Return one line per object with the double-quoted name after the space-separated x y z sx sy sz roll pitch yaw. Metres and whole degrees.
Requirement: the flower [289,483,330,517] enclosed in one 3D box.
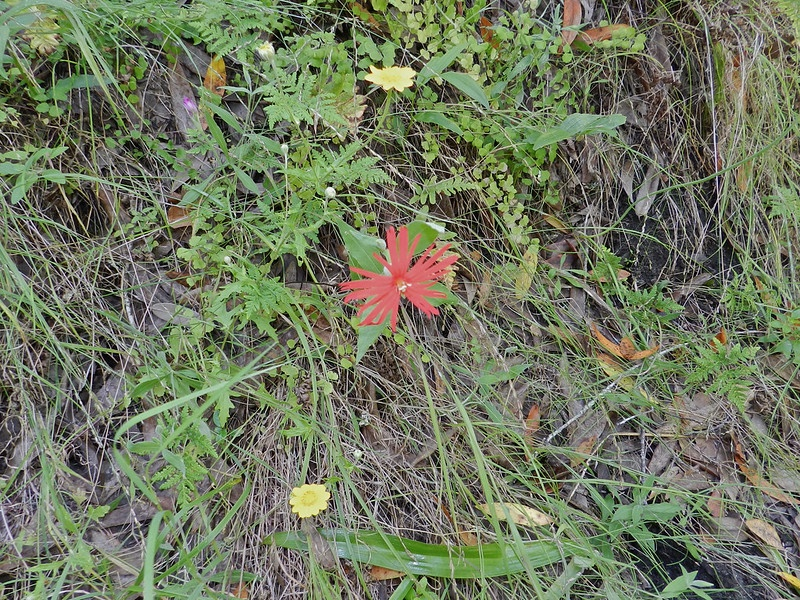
-0.253 0.553 1.904 0.108 0.041 0.086 -13 69 -11 "flower"
